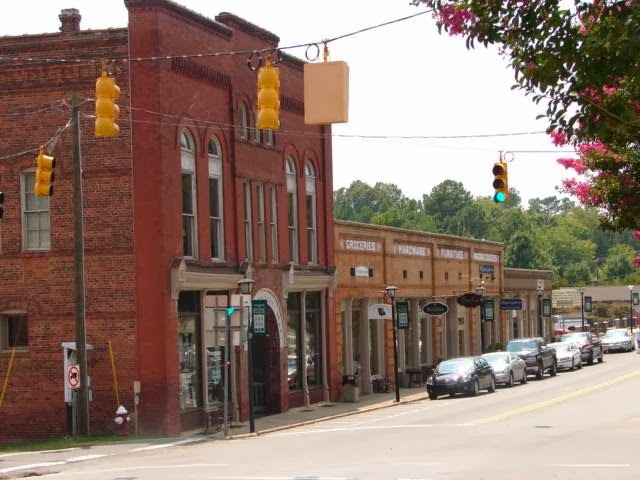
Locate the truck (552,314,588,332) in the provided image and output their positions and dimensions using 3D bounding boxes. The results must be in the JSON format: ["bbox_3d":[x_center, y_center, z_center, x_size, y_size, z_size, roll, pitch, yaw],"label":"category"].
[{"bbox_3d":[19.608,6.552,96.235,2.098,1.308,1.509,-2,1,2],"label":"truck"}]

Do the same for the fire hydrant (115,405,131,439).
[{"bbox_3d":[-6.393,5.805,39.297,0.539,1.024,0.728,-3,-11,-4],"label":"fire hydrant"}]

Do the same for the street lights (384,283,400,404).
[{"bbox_3d":[3.028,4.185,50.080,0.673,5.055,0.544,-7,-7,34],"label":"street lights"}]

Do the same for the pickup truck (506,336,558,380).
[{"bbox_3d":[10.065,5.646,58.658,1.945,2.117,2.161,-4,-7,30],"label":"pickup truck"}]

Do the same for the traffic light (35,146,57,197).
[{"bbox_3d":[-7.576,-1.948,33.513,0.514,1.429,0.994,-1,-11,-13],"label":"traffic light"}]

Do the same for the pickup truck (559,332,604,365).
[{"bbox_3d":[14.760,5.982,67.729,1.335,1.160,3.158,-3,-9,19],"label":"pickup truck"}]
